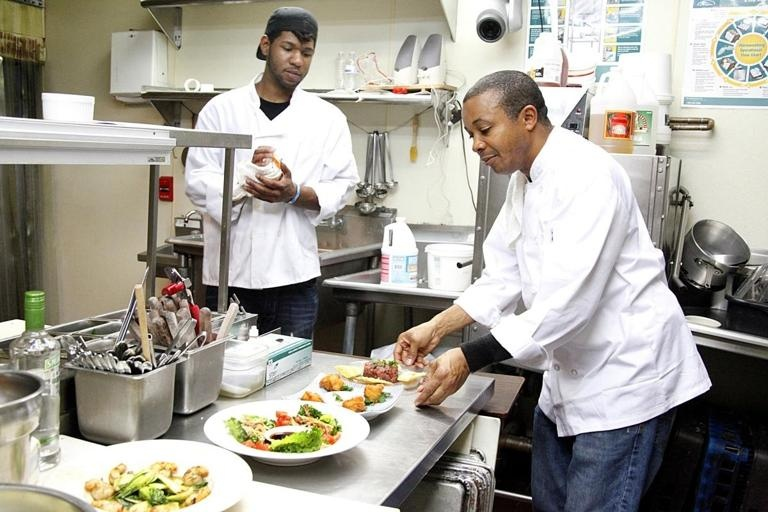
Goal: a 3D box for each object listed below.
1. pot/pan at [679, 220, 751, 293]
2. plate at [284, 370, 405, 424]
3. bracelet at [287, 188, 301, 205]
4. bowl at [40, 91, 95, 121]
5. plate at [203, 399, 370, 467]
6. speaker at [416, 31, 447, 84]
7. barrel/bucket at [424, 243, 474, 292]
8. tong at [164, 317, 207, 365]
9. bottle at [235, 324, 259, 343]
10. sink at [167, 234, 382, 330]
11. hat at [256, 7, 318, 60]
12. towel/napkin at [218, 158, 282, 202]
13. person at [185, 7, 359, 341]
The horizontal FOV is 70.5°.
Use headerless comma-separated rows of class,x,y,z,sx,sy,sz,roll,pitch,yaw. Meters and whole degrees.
pot/pan,1.620,0.056,2.745,0.266,0.198,0.455,38,32,20
plate,-0.089,0.398,1.560,0.187,0.056,0.140,12,16,25
bracelet,-0.384,-0.256,2.352,0.015,0.057,0.059,25,-34,-18
bowl,-0.763,-0.351,1.301,0.105,0.053,0.093,5,6,26
plate,-0.249,0.426,1.342,0.198,0.034,0.197,-3,10,-28
speaker,0.298,-1.258,3.475,0.211,0.329,0.192,-3,13,-8
barrel/bucket,0.333,0.057,2.837,0.250,0.191,0.235,0,13,0
tong,-0.515,0.220,1.392,0.031,0.134,0.033,46,-15,-29
bottle,-0.427,0.238,1.684,0.065,0.069,0.037,7,-5,-37
sink,-0.687,0.064,3.371,0.936,0.413,0.748,1,5,21
hat,-0.429,-0.980,2.421,0.211,0.156,0.157,-10,3,36
towel/napkin,-0.537,-0.304,2.232,0.150,0.211,0.095,11,15,6
person,-0.506,-0.378,2.555,0.556,1.475,0.606,6,11,41
